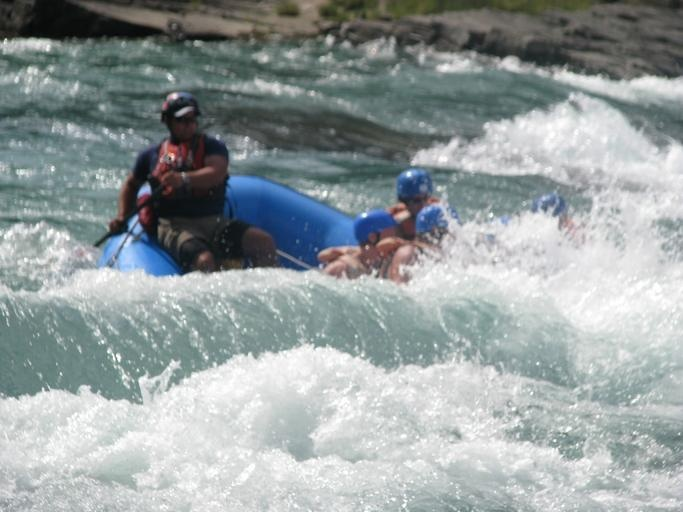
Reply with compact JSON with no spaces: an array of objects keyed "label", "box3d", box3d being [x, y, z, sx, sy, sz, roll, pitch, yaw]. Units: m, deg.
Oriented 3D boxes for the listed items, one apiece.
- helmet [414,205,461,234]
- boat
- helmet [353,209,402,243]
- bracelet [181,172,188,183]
[{"label":"helmet","box3d":[1.199,-0.483,16.115,0.504,0.246,0.291,-23,26,-6]},{"label":"boat","box3d":[-1.340,-0.410,16.922,2.528,0.739,1.526,0,41,-5]},{"label":"helmet","box3d":[0.428,-0.453,16.507,0.555,0.285,0.350,-24,15,0]},{"label":"bracelet","box3d":[-2.008,-1.020,16.221,0.105,0.128,0.074,10,40,39]}]
